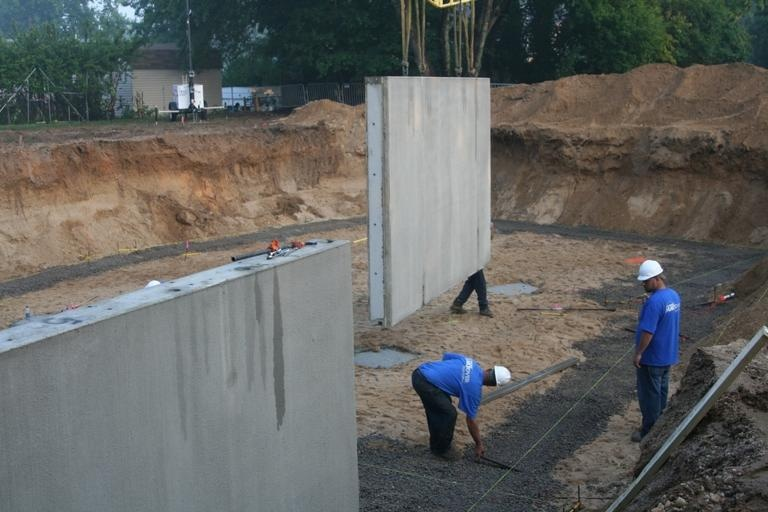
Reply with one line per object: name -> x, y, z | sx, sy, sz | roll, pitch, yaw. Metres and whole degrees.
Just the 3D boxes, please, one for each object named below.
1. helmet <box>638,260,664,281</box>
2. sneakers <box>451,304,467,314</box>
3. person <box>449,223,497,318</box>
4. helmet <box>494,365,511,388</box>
helmet -> 5.623, 0.264, 20.142 | 0.595, 0.362, 0.463 | -13, 12, -34
sneakers -> 1.937, 1.369, 24.537 | 0.388, 0.167, 0.185 | -1, 2, -44
person -> 2.204, 0.600, 25.093 | 1.363, 2.502, 0.839 | -11, 27, -21
helmet -> 2.437, 2.467, 19.566 | 0.362, 0.414, 0.232 | -9, 22, -27
